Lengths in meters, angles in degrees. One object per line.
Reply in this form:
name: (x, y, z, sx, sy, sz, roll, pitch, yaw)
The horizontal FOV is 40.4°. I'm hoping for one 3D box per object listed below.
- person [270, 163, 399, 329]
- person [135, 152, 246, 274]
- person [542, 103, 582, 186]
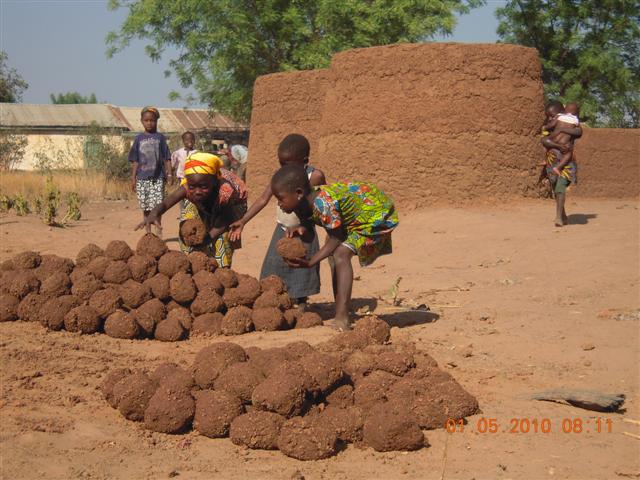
person: (0.184, 0.034, 9.861, 1.456, 1.934, 0.616, -15, 17, -35)
person: (-1.433, -0.358, 10.459, 1.074, 1.433, 0.701, -4, 14, 1)
person: (3.934, -1.623, 14.239, 0.728, 1.558, 0.548, 16, -17, -38)
